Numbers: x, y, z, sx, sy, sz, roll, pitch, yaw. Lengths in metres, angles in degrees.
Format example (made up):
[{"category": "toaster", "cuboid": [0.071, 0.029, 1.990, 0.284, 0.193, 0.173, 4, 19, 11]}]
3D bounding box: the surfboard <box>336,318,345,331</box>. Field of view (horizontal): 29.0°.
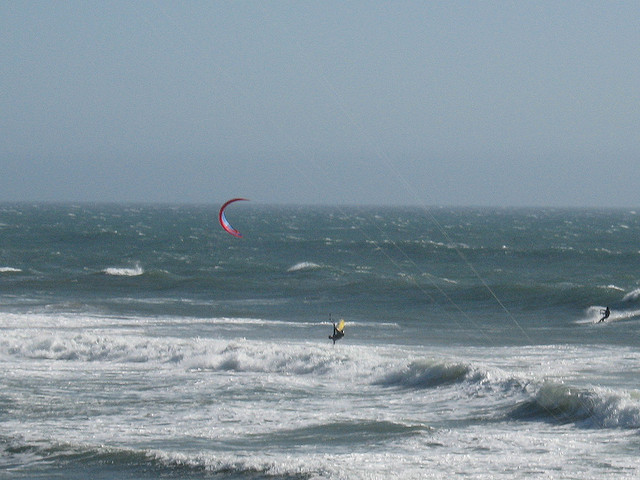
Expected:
[{"category": "surfboard", "cuboid": [0.737, 3.030, 44.918, 0.290, 0.196, 1.370, -4, -6, 1]}]
